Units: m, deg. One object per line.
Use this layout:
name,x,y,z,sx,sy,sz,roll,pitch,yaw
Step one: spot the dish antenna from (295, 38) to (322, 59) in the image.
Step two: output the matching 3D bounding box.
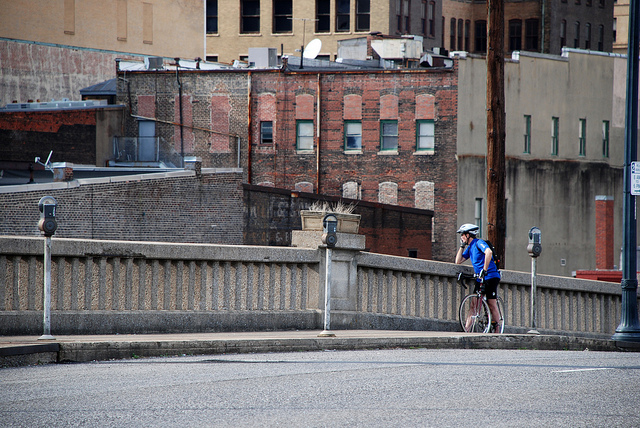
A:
dish antenna,-0.650,-10.139,93.234,1.246,1.618,1.445,1,7,25

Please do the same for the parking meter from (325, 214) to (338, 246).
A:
parking meter,0.352,0.574,55.876,0.418,1.120,0.311,1,1,-6
